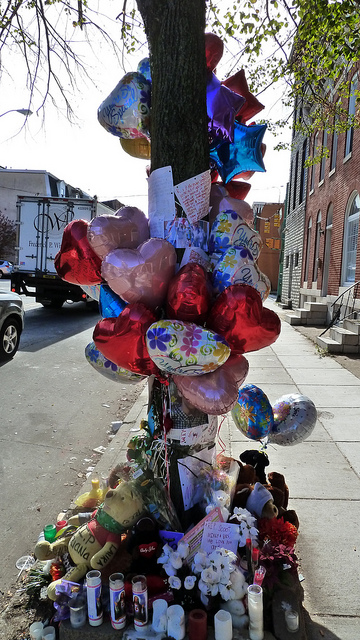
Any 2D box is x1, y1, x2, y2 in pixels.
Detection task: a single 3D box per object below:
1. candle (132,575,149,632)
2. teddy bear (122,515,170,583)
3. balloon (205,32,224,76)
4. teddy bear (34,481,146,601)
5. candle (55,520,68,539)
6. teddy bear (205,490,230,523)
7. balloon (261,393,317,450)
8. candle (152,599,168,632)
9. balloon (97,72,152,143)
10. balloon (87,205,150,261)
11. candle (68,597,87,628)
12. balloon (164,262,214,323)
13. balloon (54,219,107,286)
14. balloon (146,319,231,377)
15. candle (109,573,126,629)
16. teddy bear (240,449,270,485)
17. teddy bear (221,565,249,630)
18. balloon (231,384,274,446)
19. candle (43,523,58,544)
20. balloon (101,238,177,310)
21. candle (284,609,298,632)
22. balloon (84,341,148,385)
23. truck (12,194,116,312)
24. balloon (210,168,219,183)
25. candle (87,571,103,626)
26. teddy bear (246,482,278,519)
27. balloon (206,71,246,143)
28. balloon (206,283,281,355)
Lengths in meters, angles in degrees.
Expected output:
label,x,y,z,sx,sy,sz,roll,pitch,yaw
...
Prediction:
label,x,y,z,sx,sy,sz,roll,pitch,yaw
candle,-0.171,1.209,1.853,0.065,0.205,0.169,-3,5,-7
teddy bear,-0.166,1.125,2.122,0.236,0.378,0.226,-1,-13,-1
balloon,0.213,-1.626,2.640,0.097,0.288,0.202,-1,5,6
teddy bear,-0.458,1.065,2.184,0.405,0.601,0.392,24,-2,13
candle,-0.683,1.218,2.468,0.049,0.050,0.051,-3,-6,2
teddy bear,0.188,0.919,2.128,0.118,0.126,0.179,-2,5,5
balloon,0.716,0.649,2.752,0.276,0.342,0.162,50,14,14
candle,-0.083,1.249,1.784,0.066,0.097,0.099,-3,5,-6
balloon,-0.323,-1.270,2.476,0.304,0.378,0.342,-3,5,-7
balloon,-0.287,-0.403,2.184,0.336,0.323,0.191,-12,-7,-20
candle,-0.441,1.277,1.862,0.077,0.081,0.080,-1,-9,-2
balloon,0.044,-0.100,1.937,0.167,0.289,0.192,7,-17,2
balloon,-0.515,-0.399,2.336,0.321,0.329,0.156,41,44,19
balloon,0.014,0.124,1.883,0.384,0.238,0.241,4,-26,-11
candle,-0.260,1.212,1.832,0.078,0.213,0.068,-5,6,-28
teddy bear,0.503,0.985,2.869,0.145,0.203,0.085,-2,-12,18
teddy bear,0.248,1.205,1.889,0.107,0.128,0.187,6,44,-31
balloon,0.456,0.602,2.651,0.227,0.410,0.206,-15,-26,9
candle,-0.737,1.234,2.453,0.080,0.083,0.073,2,-16,-13
balloon,-0.174,-0.208,1.984,0.361,0.333,0.196,-3,5,-14
candle,0.465,1.259,1.786,0.050,0.057,0.052,-2,6,22
balloon,-0.358,0.194,2.505,0.289,0.182,0.261,28,-11,10
truck,-3.859,-2.306,15.745,2.629,3.343,5.122,6,6,1
balloon,0.219,-0.932,2.744,0.041,0.143,0.060,0,31,-3
candle,-0.373,1.220,1.864,0.061,0.205,0.085,-3,6,-14
teddy bear,0.440,0.972,2.314,0.103,0.124,0.158,3,25,-9
balloon,0.270,-1.277,2.508,0.223,0.464,0.236,-1,5,11
balloon,0.264,0.038,1.994,0.326,0.326,0.181,36,28,-22
